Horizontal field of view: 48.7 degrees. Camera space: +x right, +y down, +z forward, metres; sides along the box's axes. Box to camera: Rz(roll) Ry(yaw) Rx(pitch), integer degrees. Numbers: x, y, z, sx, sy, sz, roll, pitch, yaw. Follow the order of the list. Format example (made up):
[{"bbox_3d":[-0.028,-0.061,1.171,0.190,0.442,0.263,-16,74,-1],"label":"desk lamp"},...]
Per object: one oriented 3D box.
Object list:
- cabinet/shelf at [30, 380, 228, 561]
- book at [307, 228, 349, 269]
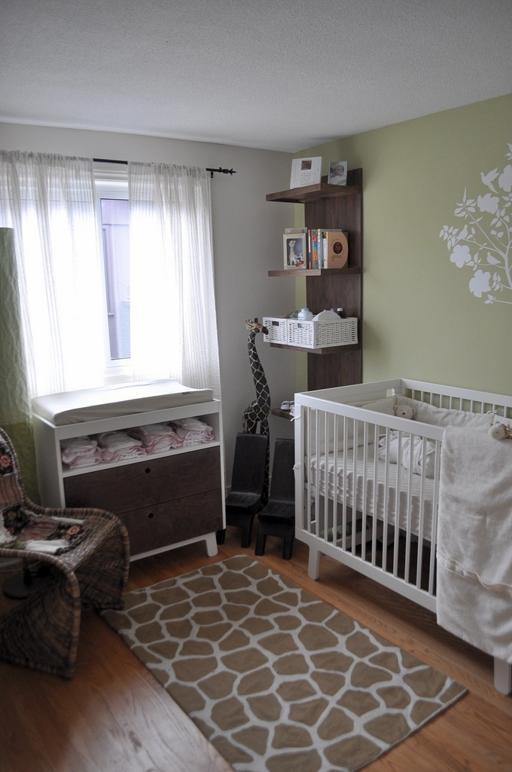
[{"bbox_3d":[-0.638,0.454,2.903,0.877,0.896,0.555,-7,13,-26],"label":"cabinet/shelf"},{"bbox_3d":[0.417,-0.803,3.310,0.249,0.230,0.189,0,7,7],"label":"book"}]
